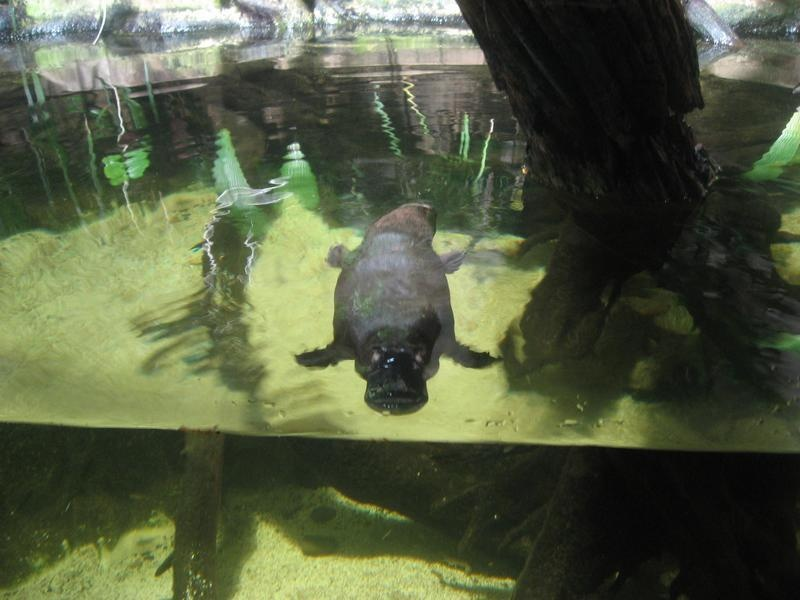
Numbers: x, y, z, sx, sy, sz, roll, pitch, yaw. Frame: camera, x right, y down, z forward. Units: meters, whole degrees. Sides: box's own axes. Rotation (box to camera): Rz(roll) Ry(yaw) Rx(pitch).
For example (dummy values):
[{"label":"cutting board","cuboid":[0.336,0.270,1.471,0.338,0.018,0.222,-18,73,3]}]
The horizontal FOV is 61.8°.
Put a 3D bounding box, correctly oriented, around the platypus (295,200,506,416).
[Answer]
[{"label":"platypus","cuboid":[-0.017,0.087,2.689,0.629,0.230,0.728,3,69,0]}]
